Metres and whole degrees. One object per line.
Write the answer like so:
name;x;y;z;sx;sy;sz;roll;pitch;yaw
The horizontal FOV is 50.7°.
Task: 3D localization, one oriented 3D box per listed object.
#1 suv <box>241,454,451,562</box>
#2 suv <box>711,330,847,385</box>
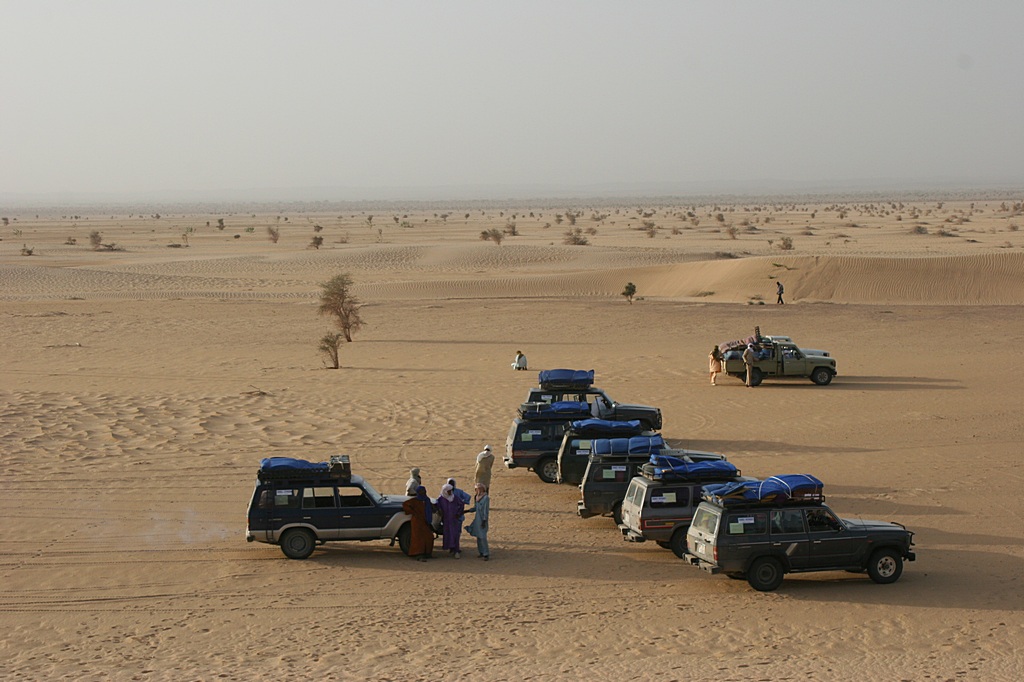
suv;-3.492;3.952;25.846;5.512;1.886;2.202;-6;-2;24
suv;10.449;0.756;43.123;4.526;1.191;2.071;-1;7;-2
